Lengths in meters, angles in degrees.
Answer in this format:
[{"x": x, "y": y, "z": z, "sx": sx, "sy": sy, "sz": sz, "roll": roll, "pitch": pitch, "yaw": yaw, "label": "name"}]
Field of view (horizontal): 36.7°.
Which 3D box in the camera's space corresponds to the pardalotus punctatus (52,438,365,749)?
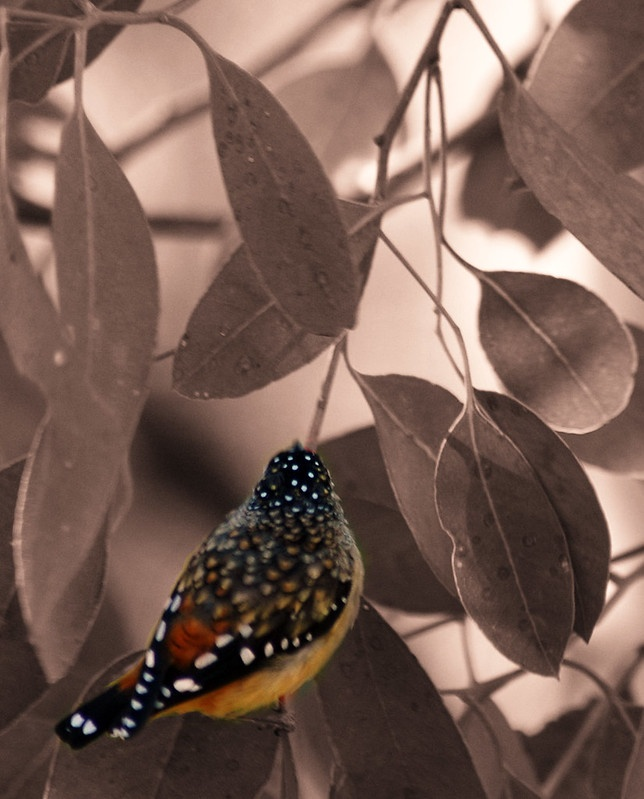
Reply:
[{"x": -0.091, "y": 0.193, "z": 0.918, "sx": 0.305, "sy": 0.217, "sz": 0.155, "roll": -40, "pitch": 55, "yaw": -24, "label": "pardalotus punctatus"}]
